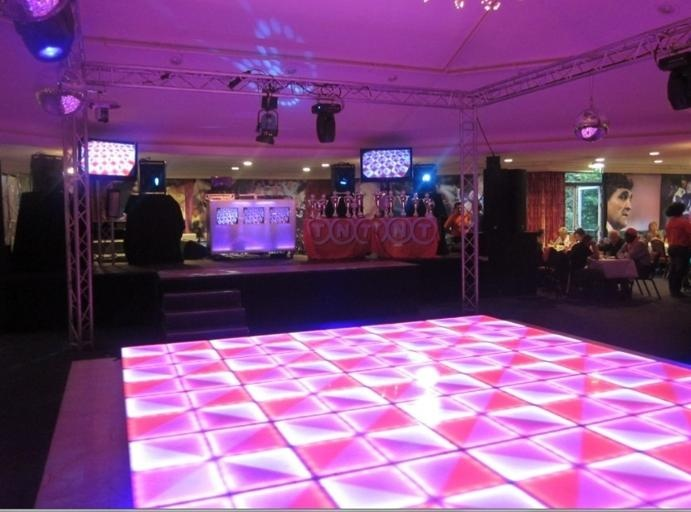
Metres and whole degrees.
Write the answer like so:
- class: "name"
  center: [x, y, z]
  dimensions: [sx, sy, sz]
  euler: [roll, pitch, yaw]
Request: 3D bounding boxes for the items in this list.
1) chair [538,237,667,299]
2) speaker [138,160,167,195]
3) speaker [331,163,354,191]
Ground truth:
- class: "chair"
  center: [4.592, 0.218, 9.097]
  dimensions: [1.223, 0.777, 1.554]
  euler: [-1, 4, -6]
- class: "speaker"
  center: [-3.573, -1.468, 9.442]
  dimensions: [0.482, 0.732, 0.568]
  euler: [-1, 2, -24]
- class: "speaker"
  center: [-0.029, -1.705, 11.055]
  dimensions: [0.482, 0.638, 0.417]
  euler: [-2, 6, -6]
